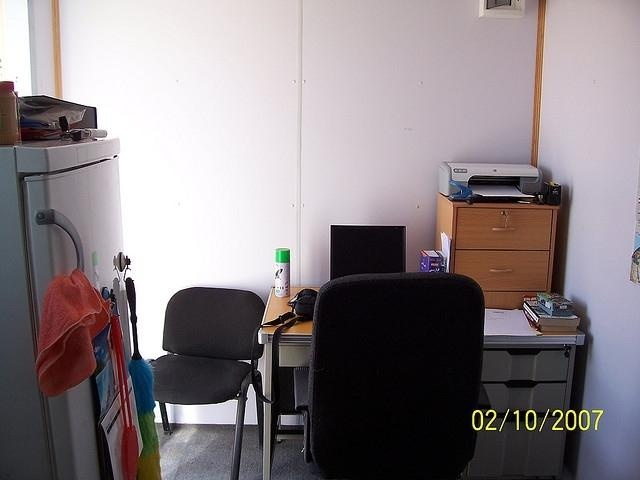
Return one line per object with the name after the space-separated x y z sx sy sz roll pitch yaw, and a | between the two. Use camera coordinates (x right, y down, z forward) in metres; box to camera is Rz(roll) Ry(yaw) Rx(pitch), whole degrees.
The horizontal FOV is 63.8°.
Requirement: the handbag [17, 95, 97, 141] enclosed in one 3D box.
-0.949 -0.451 1.924 0.159 0.153 0.463 1 10 5 | handbag

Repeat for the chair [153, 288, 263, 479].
-0.611 0.792 2.821 0.636 0.954 0.617 -1 10 -8 | chair

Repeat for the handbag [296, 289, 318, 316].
-0.068 0.327 2.680 0.109 0.059 0.158 7 31 11 | handbag

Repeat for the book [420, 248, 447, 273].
0.620 0.105 2.912 0.133 0.207 0.153 -1 0 -5 | book

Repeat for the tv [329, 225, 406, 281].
0.279 0.012 3.000 0.435 0.405 0.162 -1 41 2 | tv

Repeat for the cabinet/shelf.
0.957 0.018 3.098 0.609 0.932 0.593 0 6 1 | cabinet/shelf

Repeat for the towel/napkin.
-0.710 0.261 1.478 0.103 0.301 0.268 -2 -4 33 | towel/napkin

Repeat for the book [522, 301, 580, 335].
1.195 0.405 2.641 0.168 0.048 0.176 -4 19 -2 | book

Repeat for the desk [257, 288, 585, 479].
0.446 0.953 2.880 1.664 1.156 0.875 -1 -2 0 | desk
